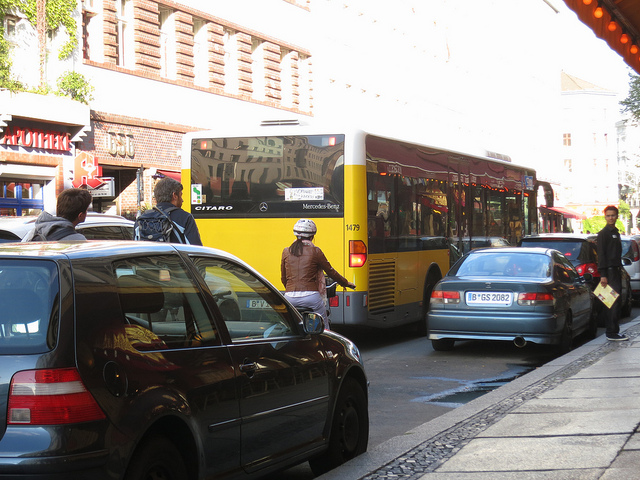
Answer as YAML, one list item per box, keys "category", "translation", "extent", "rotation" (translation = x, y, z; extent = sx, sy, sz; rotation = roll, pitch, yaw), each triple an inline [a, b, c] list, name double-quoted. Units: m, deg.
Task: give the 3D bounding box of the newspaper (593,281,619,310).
- category: "newspaper"
  translation: [5.560, 1.065, 11.608]
  extent: [0.516, 0.494, 0.322]
  rotation: [1, 1, -25]

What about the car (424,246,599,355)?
- category: "car"
  translation: [3.719, 1.077, 11.103]
  extent: [3.267, 1.879, 1.775]
  rotation: [0, 1, -33]

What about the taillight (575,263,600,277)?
- category: "taillight"
  translation: [6.472, 0.713, 14.518]
  extent: [0.747, 0.328, 0.218]
  rotation: [0, 1, -32]

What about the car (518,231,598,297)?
- category: "car"
  translation: [6.149, 0.529, 14.863]
  extent: [1.222, 1.098, 2.257]
  rotation: [0, 3, 29]

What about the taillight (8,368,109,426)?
- category: "taillight"
  translation: [-1.169, 0.693, 2.676]
  extent: [0.400, 0.232, 0.085]
  rotation: [1, 1, -16]

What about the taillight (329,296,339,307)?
- category: "taillight"
  translation: [0.258, 1.095, 11.068]
  extent: [0.243, 0.259, 0.184]
  rotation: [0, 5, -1]

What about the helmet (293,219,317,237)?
- category: "helmet"
  translation: [-0.198, -0.179, 8.515]
  extent: [0.211, 0.226, 0.277]
  rotation: [1, -11, 21]

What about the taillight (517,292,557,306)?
- category: "taillight"
  translation: [3.681, 1.006, 10.218]
  extent: [0.402, 0.158, 0.303]
  rotation: [4, 3, 4]
